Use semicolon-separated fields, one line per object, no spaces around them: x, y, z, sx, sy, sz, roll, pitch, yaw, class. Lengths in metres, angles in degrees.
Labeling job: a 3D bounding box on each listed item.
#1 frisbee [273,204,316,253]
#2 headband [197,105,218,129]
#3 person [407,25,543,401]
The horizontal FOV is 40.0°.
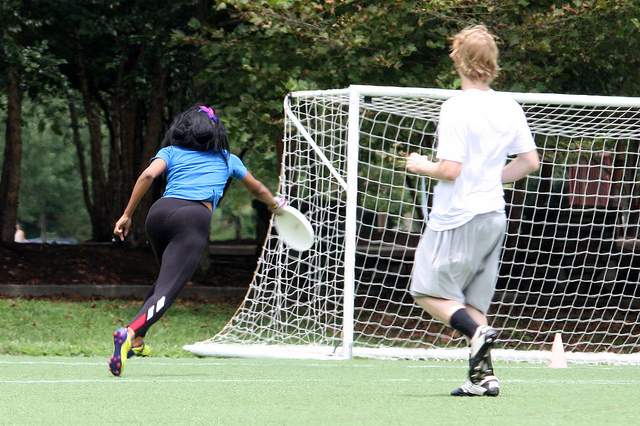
-0.357;0.214;12.235;0.676;0.614;0.153;8;45;42;frisbee
-1.405;-1.200;11.056;0.259;0.298;0.315;4;2;-1;headband
1.678;-0.018;9.858;1.311;2.770;0.586;4;2;0;person
